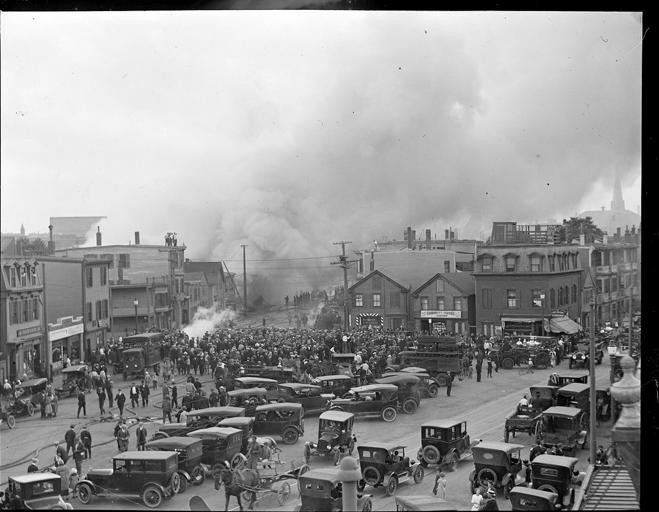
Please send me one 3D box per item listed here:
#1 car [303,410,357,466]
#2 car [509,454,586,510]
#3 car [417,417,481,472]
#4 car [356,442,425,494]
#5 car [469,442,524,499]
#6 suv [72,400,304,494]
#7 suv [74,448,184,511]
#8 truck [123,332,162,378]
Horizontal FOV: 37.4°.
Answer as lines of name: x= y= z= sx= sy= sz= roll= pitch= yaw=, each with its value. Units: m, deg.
car: x=0.134 y=7.188 z=38.467 sx=1.990 sy=1.901 sz=1.003 roll=-1 pitch=-3 yaw=-6
car: x=7.785 y=7.890 z=33.925 sx=1.617 sy=1.674 sz=3.276 roll=-4 pitch=-4 yaw=35
car: x=4.680 y=7.224 z=37.701 sx=1.941 sy=2.054 sz=1.980 roll=-11 pitch=-6 yaw=40
car: x=2.370 y=7.704 z=36.328 sx=1.343 sy=1.523 sz=2.507 roll=0 pitch=2 yaw=37
car: x=6.149 y=7.689 z=35.669 sx=1.804 sy=2.010 sz=1.780 roll=-11 pitch=-7 yaw=24
suv: x=-5.324 y=7.599 z=38.332 sx=4.330 sy=1.404 sz=2.662 roll=-4 pitch=4 yaw=5
suv: x=-7.403 y=8.269 z=36.319 sx=3.311 sy=1.721 sz=1.898 roll=1 pitch=-5 yaw=9
truck: x=-10.337 y=5.242 z=52.118 sx=1.729 sy=2.367 sz=1.527 roll=-6 pitch=-3 yaw=1
